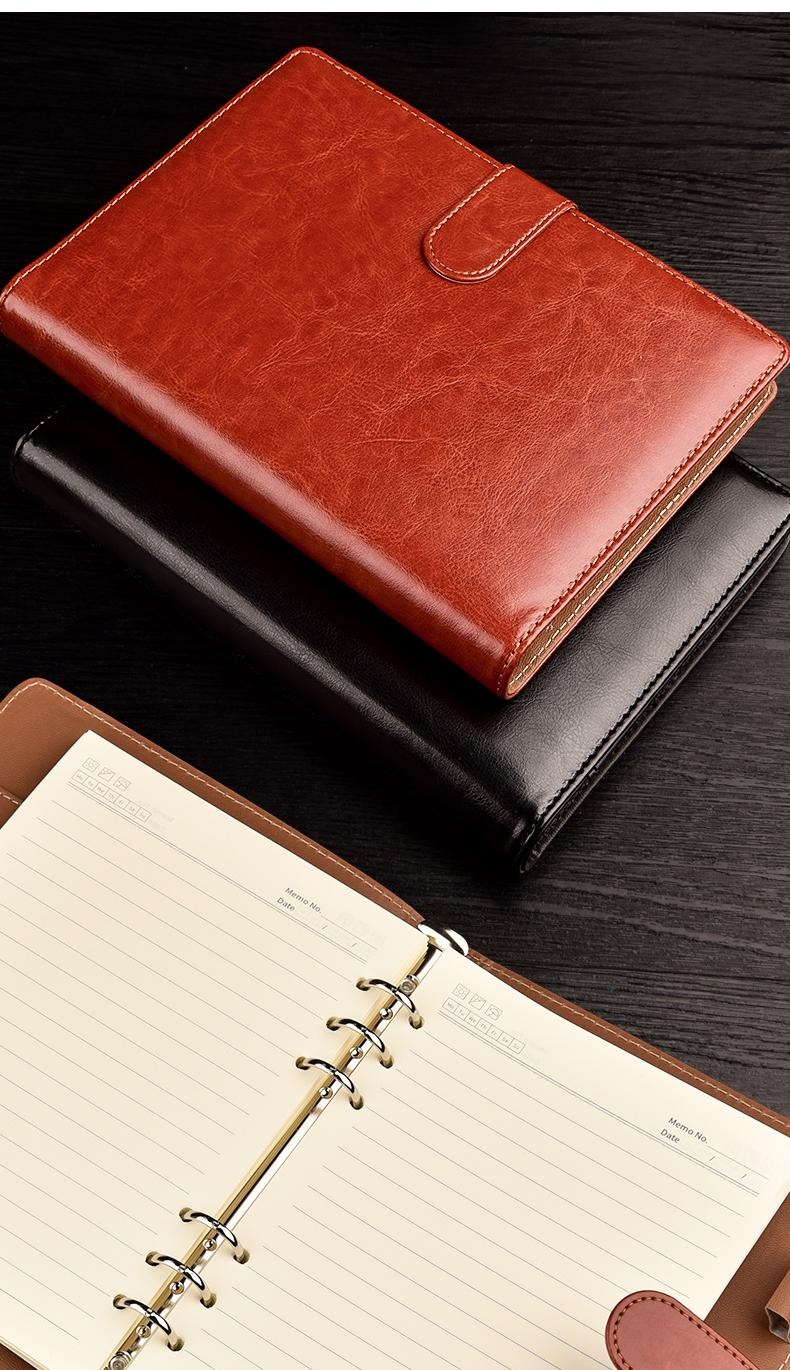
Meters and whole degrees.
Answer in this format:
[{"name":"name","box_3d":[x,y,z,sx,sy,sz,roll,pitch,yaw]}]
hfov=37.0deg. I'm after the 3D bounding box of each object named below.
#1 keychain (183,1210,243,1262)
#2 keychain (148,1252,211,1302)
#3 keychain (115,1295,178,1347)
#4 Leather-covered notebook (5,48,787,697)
[{"name":"keychain","box_3d":[-0.102,0.310,0.662,0.029,0.018,0.006,43,0,1]},{"name":"keychain","box_3d":[-0.119,0.329,0.653,0.022,0.014,0.005,41,24,-4]},{"name":"keychain","box_3d":[-0.136,0.349,0.645,0.024,0.013,0.005,48,17,-9]},{"name":"Leather-covered notebook","box_3d":[-0.003,-0.281,0.943,0.544,0.274,0.361,25,46,28]}]
